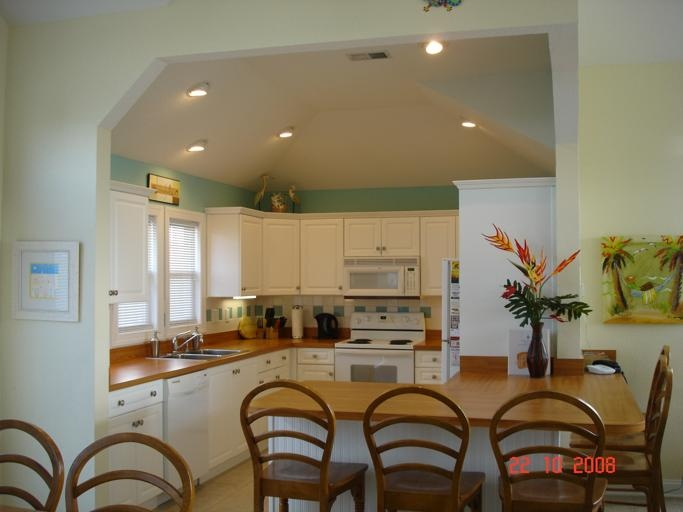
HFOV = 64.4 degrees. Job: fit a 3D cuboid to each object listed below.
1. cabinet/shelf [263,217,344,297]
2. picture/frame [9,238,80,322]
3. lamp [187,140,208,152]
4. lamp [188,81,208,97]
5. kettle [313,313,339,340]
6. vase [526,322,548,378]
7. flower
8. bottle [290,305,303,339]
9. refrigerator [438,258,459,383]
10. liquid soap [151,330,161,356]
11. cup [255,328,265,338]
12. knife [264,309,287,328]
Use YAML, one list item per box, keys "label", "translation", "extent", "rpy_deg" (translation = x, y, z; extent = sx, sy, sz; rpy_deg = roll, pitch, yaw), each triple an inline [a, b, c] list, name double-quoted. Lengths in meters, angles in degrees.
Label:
- label: "cabinet/shelf"
  translation: [-0.444, 0.022, 6.440]
  extent: [0.919, 0.911, 0.340]
  rpy_deg: [0, -1, 7]
- label: "picture/frame"
  translation: [-1.961, 0.160, 3.624]
  extent: [0.551, 0.652, 0.045]
  rpy_deg: [0, 2, 17]
- label: "lamp"
  translation: [-1.385, -1.057, 5.246]
  extent: [0.205, 0.080, 0.164]
  rpy_deg: [-2, 1, -35]
- label: "lamp"
  translation: [-1.189, -1.393, 4.539]
  extent: [0.201, 0.075, 0.148]
  rpy_deg: [-1, 1, 17]
- label: "kettle"
  translation: [-0.167, 0.850, 6.516]
  extent: [0.286, 0.328, 0.128]
  rpy_deg: [0, -6, -4]
- label: "vase"
  translation: [1.375, 0.654, 3.814]
  extent: [0.143, 0.411, 0.156]
  rpy_deg: [-1, 1, 19]
- label: "flower"
  translation: [1.346, 0.098, 3.898]
  extent: [0.686, 0.683, 0.779]
  rpy_deg: [5, 7, 40]
- label: "bottle"
  translation: [-0.528, 0.800, 6.549]
  extent: [0.149, 0.389, 0.351]
  rpy_deg: [-2, 1, -5]
- label: "refrigerator"
  translation: [0.953, 0.553, 4.741]
  extent: [0.149, 1.049, 0.176]
  rpy_deg: [-1, 1, 13]
- label: "liquid soap"
  translation: [-1.727, 0.813, 5.034]
  extent: [0.082, 0.183, 0.157]
  rpy_deg: [-2, 1, -19]
- label: "cup"
  translation: [-0.963, 0.927, 6.523]
  extent: [0.117, 0.118, 0.088]
  rpy_deg: [0, 1, 3]
- label: "knife"
  translation: [-0.814, 0.770, 6.655]
  extent: [0.276, 0.286, 0.182]
  rpy_deg: [0, 0, 13]
